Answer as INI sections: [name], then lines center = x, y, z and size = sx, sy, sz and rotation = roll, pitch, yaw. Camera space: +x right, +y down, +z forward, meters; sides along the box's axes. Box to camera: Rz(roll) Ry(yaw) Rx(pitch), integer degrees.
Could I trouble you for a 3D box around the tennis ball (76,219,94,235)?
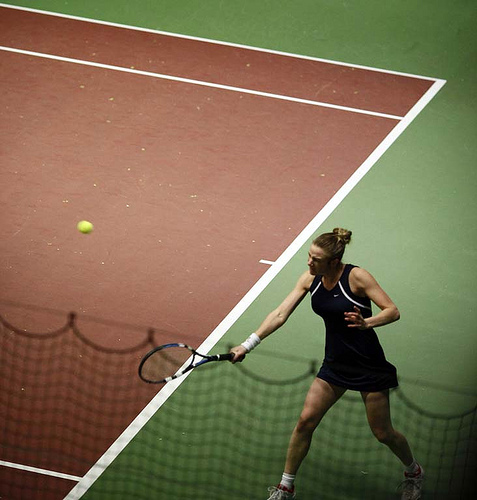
[tennis ball]
center = -1.327, -0.205, 5.433
size = 0.106, 0.122, 0.064
rotation = 0, -13, 3
